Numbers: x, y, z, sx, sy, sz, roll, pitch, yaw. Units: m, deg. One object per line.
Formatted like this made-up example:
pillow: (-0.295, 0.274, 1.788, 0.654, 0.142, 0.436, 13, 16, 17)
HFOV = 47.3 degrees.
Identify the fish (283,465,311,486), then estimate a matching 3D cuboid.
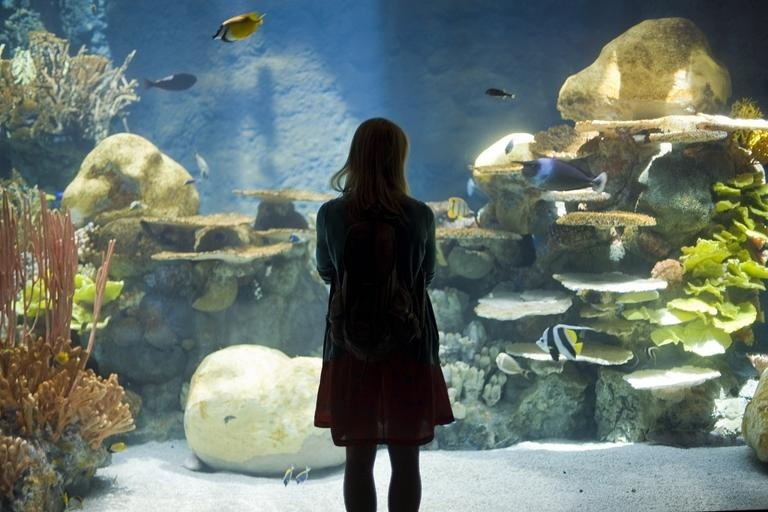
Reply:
fish: (-1.300, 3.273, 13.059, 0.172, 0.364, 0.756, 10, -10, -25)

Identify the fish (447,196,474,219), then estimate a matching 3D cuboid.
fish: (1.291, -0.803, 14.493, 0.273, 0.235, 0.530, 1, -5, 36)

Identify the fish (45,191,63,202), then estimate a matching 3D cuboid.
fish: (-5.836, -1.058, 15.505, 0.404, 0.113, 0.372, 6, -6, -13)

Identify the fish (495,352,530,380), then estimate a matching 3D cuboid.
fish: (2.111, 1.756, 14.141, 0.623, 0.108, 0.324, 27, 48, 18)

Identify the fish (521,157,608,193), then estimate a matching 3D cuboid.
fish: (2.748, -1.223, 13.553, 1.377, 0.552, 0.400, 9, -8, 10)

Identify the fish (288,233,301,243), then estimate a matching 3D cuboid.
fish: (-1.512, -0.314, 15.084, 0.212, 0.119, 0.191, 2, -1, -20)

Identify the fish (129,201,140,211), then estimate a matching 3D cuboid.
fish: (-4.307, -0.895, 15.168, 0.184, 0.148, 0.085, 2, -1, -20)
